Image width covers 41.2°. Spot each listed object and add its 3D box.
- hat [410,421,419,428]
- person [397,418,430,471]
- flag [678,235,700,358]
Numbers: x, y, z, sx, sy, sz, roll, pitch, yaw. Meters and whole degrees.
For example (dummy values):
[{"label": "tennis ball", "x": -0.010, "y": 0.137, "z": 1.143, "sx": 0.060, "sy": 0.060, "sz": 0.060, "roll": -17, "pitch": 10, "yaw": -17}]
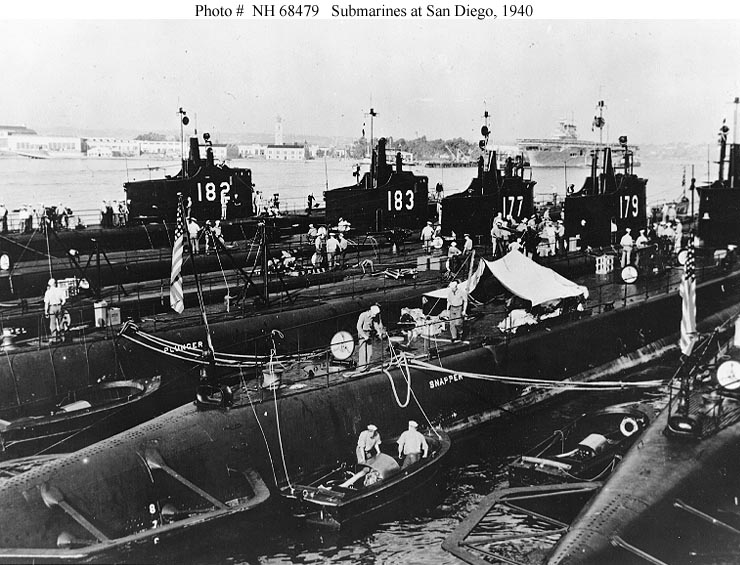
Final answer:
[{"label": "hat", "x": 0.690, "y": 2.274, "z": 15.813, "sx": 0.189, "sy": 0.109, "sz": 0.249, "roll": -2, "pitch": 2, "yaw": 5}, {"label": "person", "x": 0.670, "y": 2.628, "z": 15.801, "sx": 0.492, "sy": 1.303, "sz": 0.360, "roll": 3, "pitch": -14, "yaw": 4}, {"label": "flag", "x": 5.641, "y": 0.269, "z": 17.213, "sx": 0.323, "sy": 2.426, "sz": 0.441, "roll": -19, "pitch": 31, "yaw": -6}]
